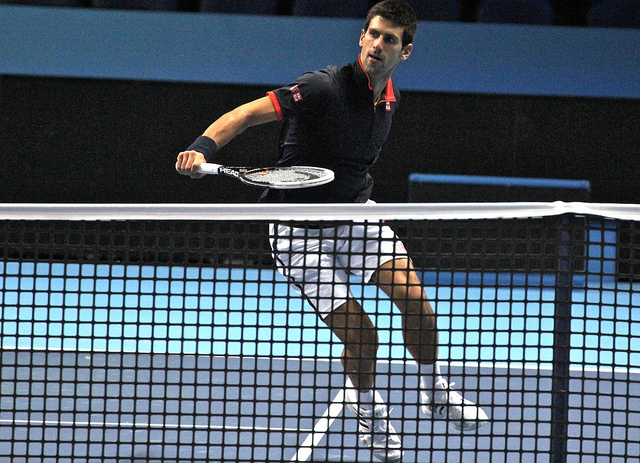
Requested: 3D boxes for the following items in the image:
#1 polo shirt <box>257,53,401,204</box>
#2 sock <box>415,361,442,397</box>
[{"bbox_3d":[0.053,-0.878,9.852,1.171,0.953,1.429,4,98,-17],"label":"polo shirt"},{"bbox_3d":[0.980,1.325,9.484,0.242,0.723,0.271,-17,76,-2],"label":"sock"}]
